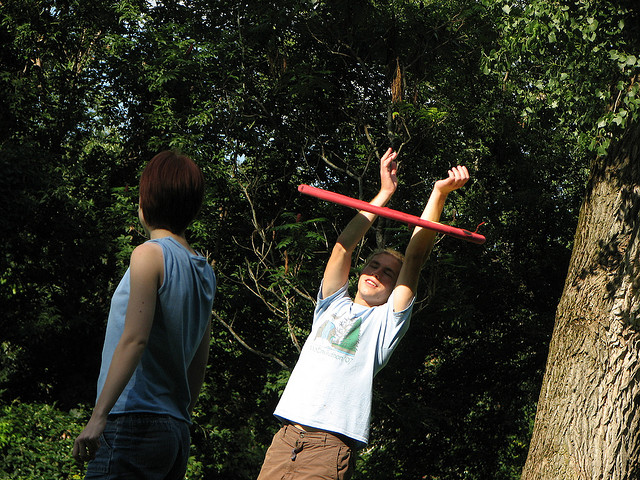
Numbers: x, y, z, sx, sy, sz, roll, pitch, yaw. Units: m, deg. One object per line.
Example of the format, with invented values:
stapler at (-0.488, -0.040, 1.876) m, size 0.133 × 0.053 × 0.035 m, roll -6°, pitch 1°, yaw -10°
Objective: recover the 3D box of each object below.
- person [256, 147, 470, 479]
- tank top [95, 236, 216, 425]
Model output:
person at (0.308, 0.579, 5.370) m, size 1.117 × 2.871 × 0.525 m, roll 10°, pitch -13°, yaw 4°
tank top at (-1.057, 0.651, 4.713) m, size 0.604 × 1.286 × 0.301 m, roll 16°, pitch -14°, yaw -19°
